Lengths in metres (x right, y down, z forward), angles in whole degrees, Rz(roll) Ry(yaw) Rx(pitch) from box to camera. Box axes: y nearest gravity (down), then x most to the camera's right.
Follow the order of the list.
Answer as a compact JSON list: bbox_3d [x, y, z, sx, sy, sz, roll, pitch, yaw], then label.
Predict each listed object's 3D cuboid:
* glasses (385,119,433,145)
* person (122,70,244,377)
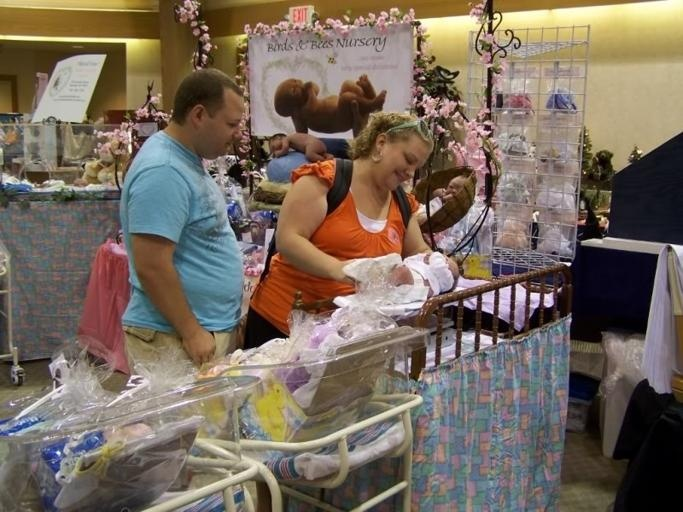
[{"bbox_3d":[0.259,-0.442,1.947,0.113,0.060,0.098,-16,4,24],"label":"glasses"},{"bbox_3d":[-0.580,-0.142,1.919,0.450,1.085,0.265,-2,8,-26],"label":"person"}]
